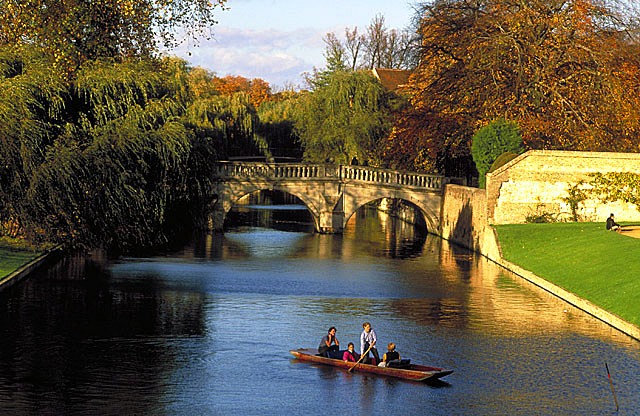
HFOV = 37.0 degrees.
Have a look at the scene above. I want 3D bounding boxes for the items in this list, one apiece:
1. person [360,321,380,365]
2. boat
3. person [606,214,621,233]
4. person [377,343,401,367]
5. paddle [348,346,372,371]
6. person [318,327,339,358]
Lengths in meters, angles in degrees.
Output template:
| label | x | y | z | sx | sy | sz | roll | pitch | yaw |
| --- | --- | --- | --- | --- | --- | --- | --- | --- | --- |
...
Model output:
| label | x | y | z | sx | sy | sz | roll | pitch | yaw |
| --- | --- | --- | --- | --- | --- | --- | --- | --- | --- |
| person | 2.103 | 5.934 | 40.486 | 0.758 | 2.343 | 0.841 | -8 | 16 | -5 |
| boat | 2.016 | 6.609 | 40.229 | 4.489 | 0.423 | 1.075 | 2 | 2 | 32 |
| person | 16.917 | 0.785 | 55.389 | 0.688 | 0.930 | 1.370 | 1 | 5 | 10 |
| person | 2.897 | 6.094 | 39.874 | 0.929 | 0.956 | 0.509 | 1 | 6 | 8 |
| paddle | 1.684 | 6.330 | 40.282 | 0.138 | 1.303 | 0.144 | 25 | 26 | -31 |
| person | 0.454 | 5.899 | 40.925 | 0.955 | 1.739 | 0.812 | 2 | 2 | 12 |
